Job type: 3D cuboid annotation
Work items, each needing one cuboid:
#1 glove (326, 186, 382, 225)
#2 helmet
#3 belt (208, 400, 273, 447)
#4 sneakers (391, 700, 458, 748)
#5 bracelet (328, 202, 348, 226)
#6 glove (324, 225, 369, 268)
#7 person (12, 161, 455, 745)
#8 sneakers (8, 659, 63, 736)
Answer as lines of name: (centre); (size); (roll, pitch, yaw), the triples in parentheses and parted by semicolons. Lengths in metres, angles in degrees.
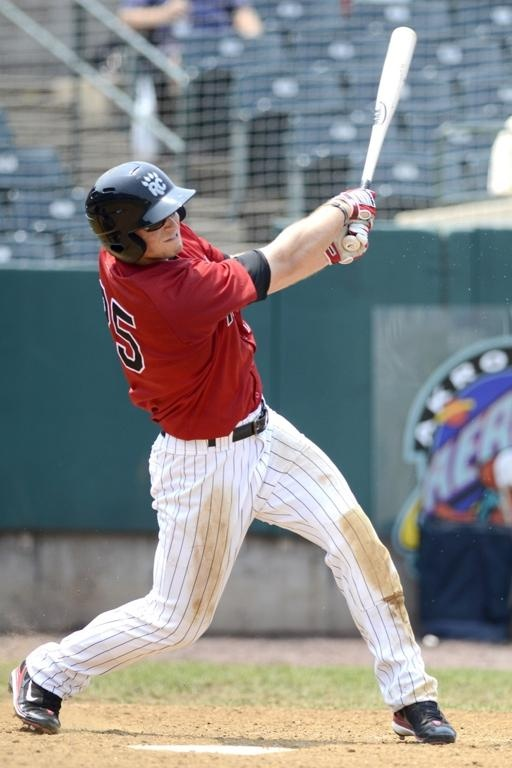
glove: (0.281, -0.502, 3.179); (0.129, 0.114, 0.057); (9, -5, 26)
helmet: (-0.320, -0.447, 2.983); (0.329, 0.236, 0.228); (3, 17, 17)
belt: (-0.041, 0.116, 3.132); (0.140, 0.034, 0.119); (-19, 8, 5)
sneakers: (0.463, 0.944, 3.153); (0.087, 0.090, 0.210); (4, -9, -35)
bracelet: (0.234, -0.467, 3.128); (0.022, 0.058, 0.049); (-28, 44, -6)
glove: (0.258, -0.380, 3.146); (0.113, 0.049, 0.114); (-36, -7, -6)
person: (-0.057, 0.222, 3.160); (1.134, 1.607, 0.438); (4, 4, -11)
sneakers: (-0.627, 0.911, 3.278); (0.250, 0.125, 0.088); (45, 7, 38)
